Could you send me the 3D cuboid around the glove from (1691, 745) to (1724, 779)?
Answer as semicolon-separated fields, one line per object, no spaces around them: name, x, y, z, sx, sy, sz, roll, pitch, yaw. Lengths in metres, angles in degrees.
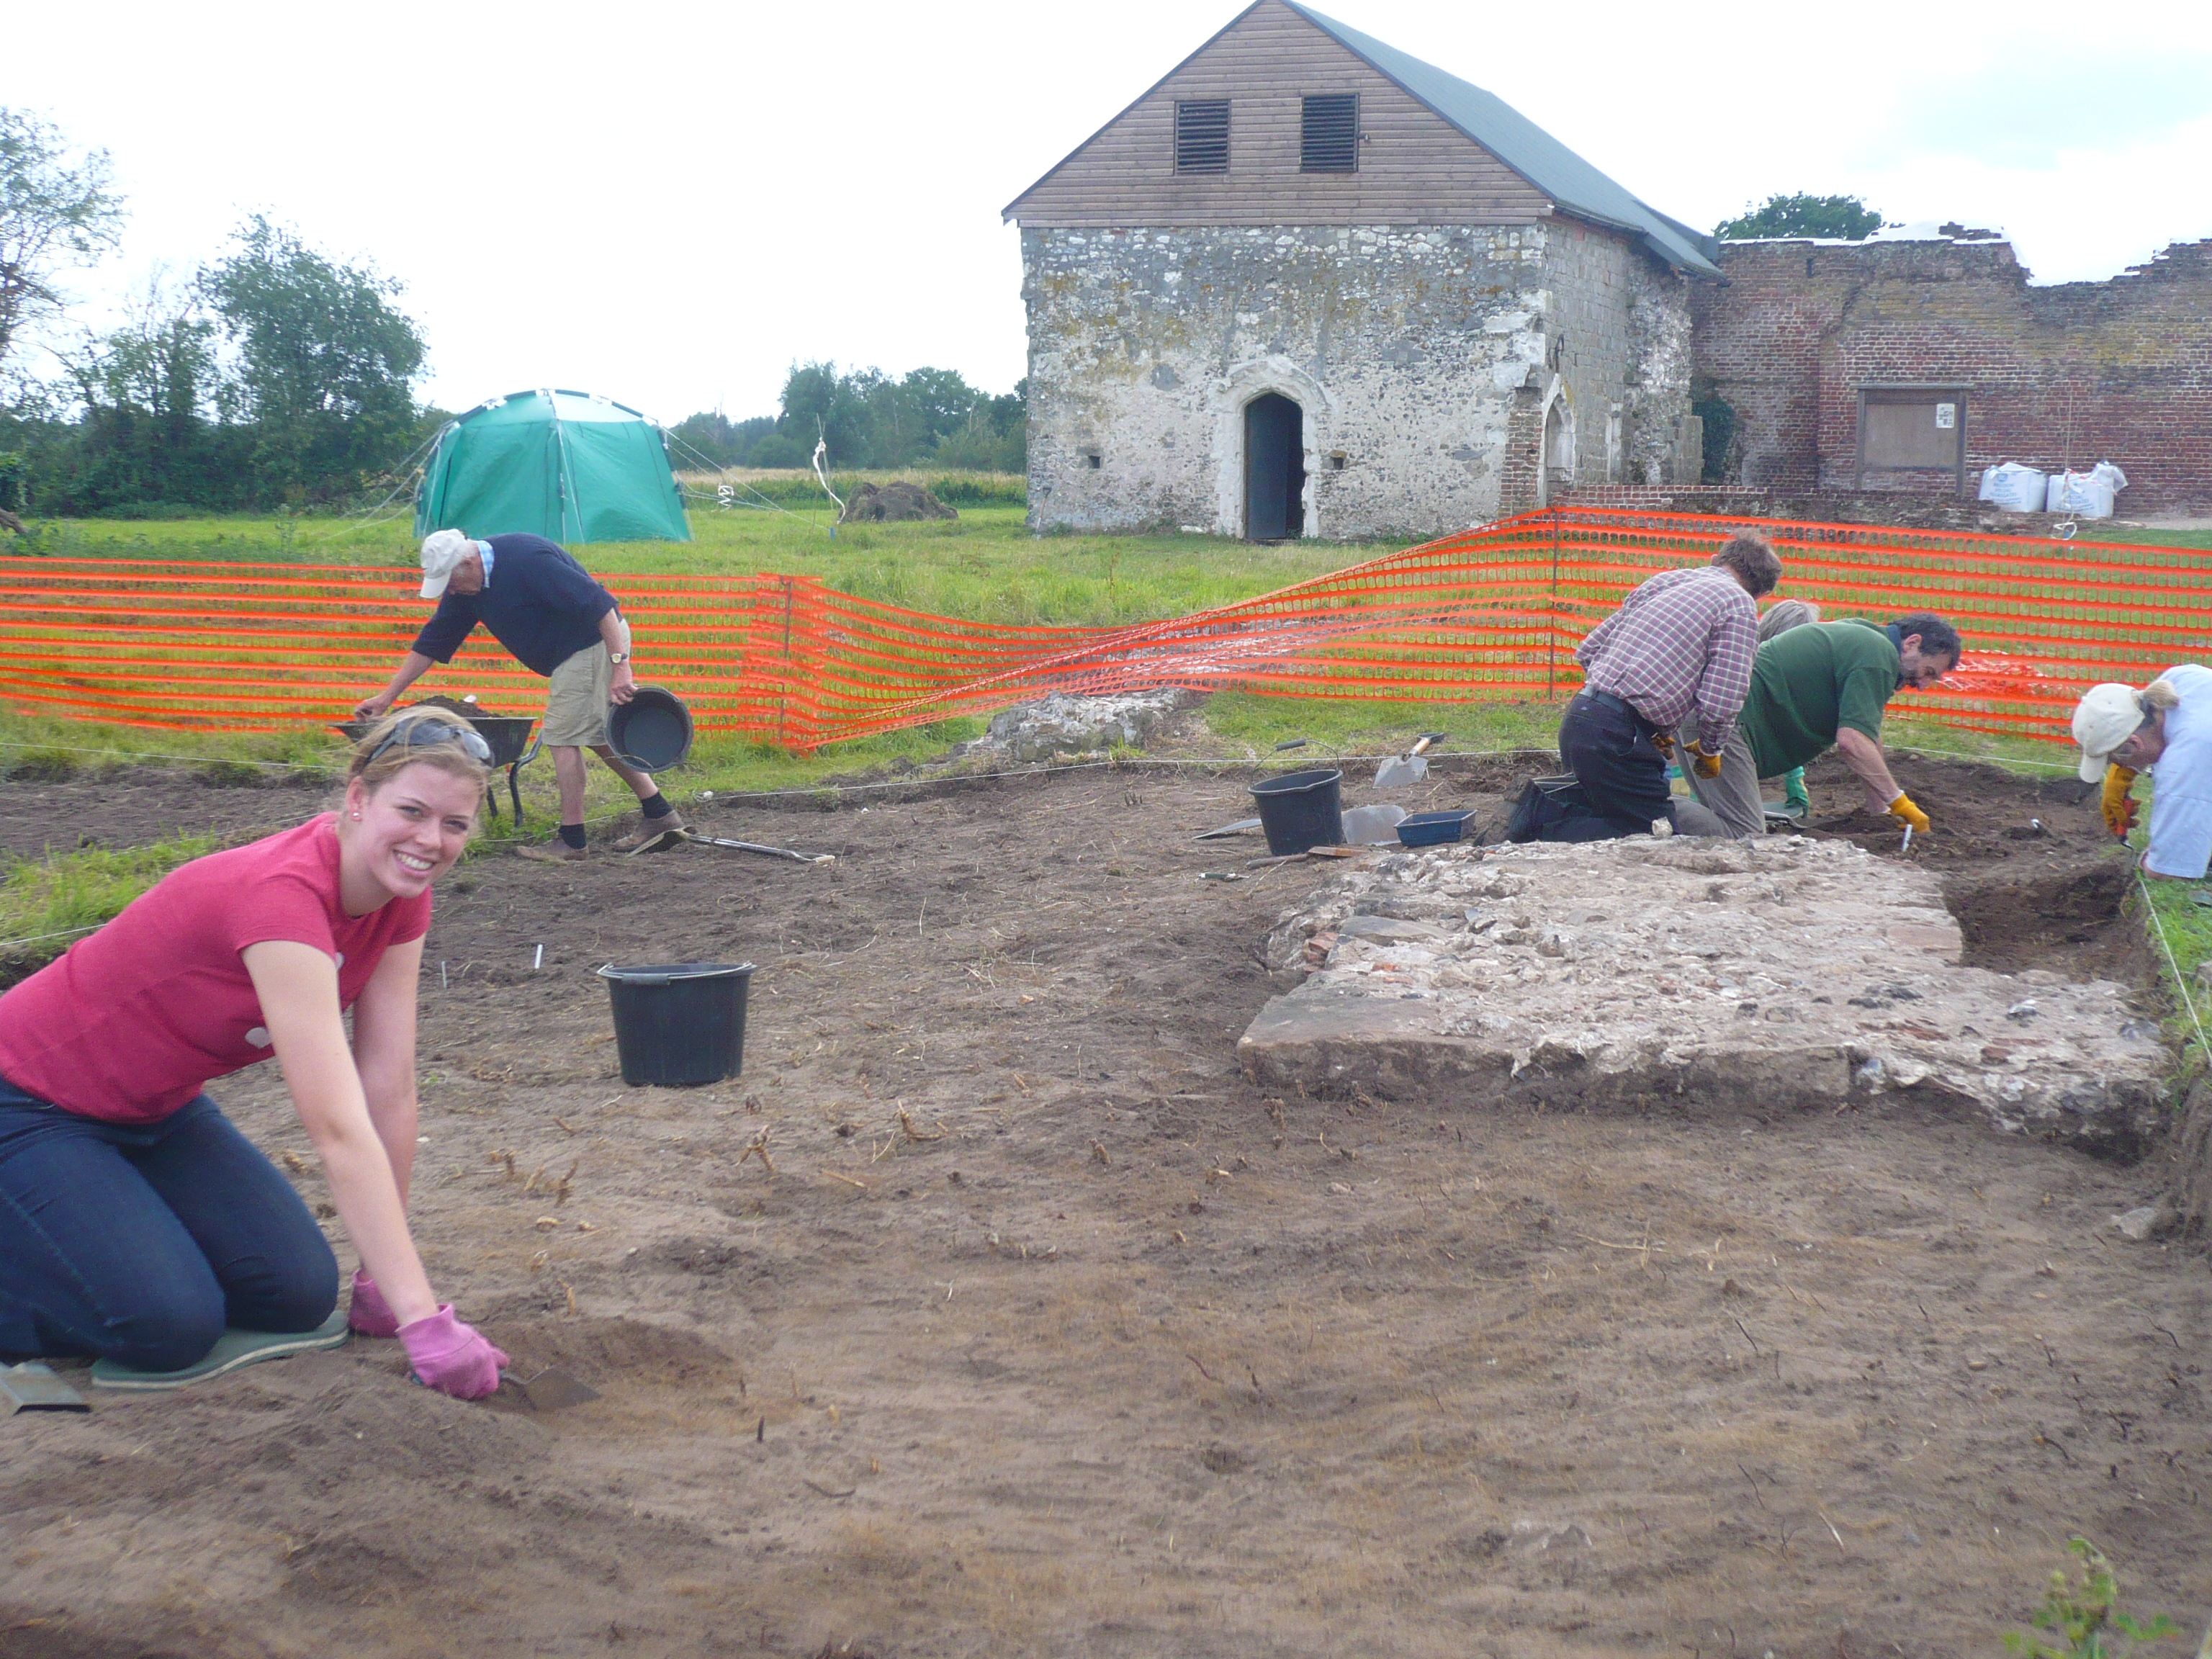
glove;2.623;-0.293;10.242;0.122;0.124;0.125;-17;-20;36

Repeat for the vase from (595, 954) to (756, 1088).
vase;-1.508;0.611;8.333;0.432;0.465;0.531;15;14;41

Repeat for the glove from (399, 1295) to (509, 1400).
glove;-1.660;1.327;6.004;0.249;0.260;0.167;-2;9;-18

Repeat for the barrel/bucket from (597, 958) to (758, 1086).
barrel/bucket;-1.493;0.629;8.324;0.435;0.457;0.537;15;14;42

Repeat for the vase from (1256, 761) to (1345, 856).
vase;0.864;-0.092;10.710;0.380;0.305;0.367;-7;13;45

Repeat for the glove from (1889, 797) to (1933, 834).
glove;3.572;-0.060;10.491;0.121;0.067;0.154;7;22;-44

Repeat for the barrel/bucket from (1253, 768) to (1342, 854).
barrel/bucket;0.857;-0.091;10.733;0.376;0.293;0.363;-14;15;4

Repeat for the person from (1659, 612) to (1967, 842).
person;3.098;-0.530;10.302;1.337;0.802;0.831;-8;18;8

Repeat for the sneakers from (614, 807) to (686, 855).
sneakers;-2.198;0.006;11.521;0.349;0.160;0.156;-12;2;7
